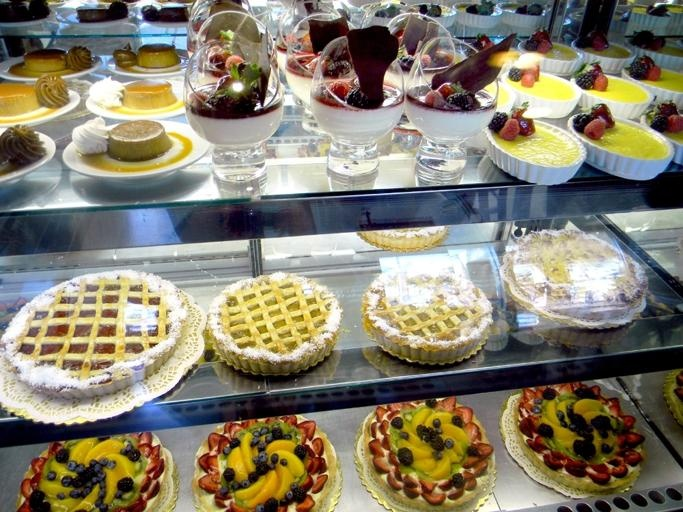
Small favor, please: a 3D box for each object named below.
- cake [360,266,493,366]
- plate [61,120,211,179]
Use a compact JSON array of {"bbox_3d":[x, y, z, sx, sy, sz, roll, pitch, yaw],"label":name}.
[{"bbox_3d":[0.340,0.217,1.862,0.403,0.114,0.394,-31,49,-34],"label":"cake"},{"bbox_3d":[-0.546,-0.274,1.293,0.283,0.043,0.265,-21,39,-32],"label":"plate"}]
